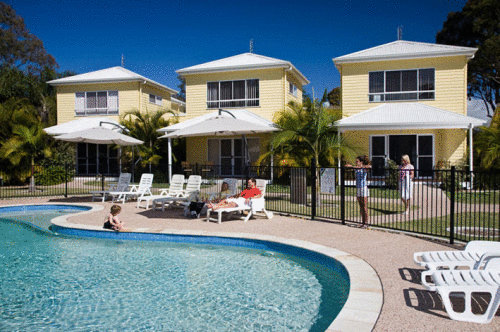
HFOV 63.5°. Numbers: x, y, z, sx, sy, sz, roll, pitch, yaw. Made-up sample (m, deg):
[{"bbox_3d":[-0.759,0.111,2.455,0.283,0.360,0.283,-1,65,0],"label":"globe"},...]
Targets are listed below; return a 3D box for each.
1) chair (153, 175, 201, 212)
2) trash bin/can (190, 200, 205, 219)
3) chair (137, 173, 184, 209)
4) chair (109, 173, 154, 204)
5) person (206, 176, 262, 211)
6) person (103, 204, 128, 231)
[{"bbox_3d":[-3.139,1.046,16.834,2.085,1.515,1.299,5,-1,-41],"label":"chair"},{"bbox_3d":[-2.089,1.692,15.893,0.471,0.225,0.652,-10,3,-1],"label":"trash bin/can"},{"bbox_3d":[-3.871,1.065,17.873,1.334,1.410,2.044,-1,0,37],"label":"chair"},{"bbox_3d":[-5.350,1.054,19.353,1.322,1.338,1.967,-2,-3,31],"label":"chair"},{"bbox_3d":[-0.476,1.041,15.136,2.031,0.877,0.782,-9,16,-24],"label":"person"},{"bbox_3d":[-4.644,1.782,14.028,0.798,0.850,0.673,4,-2,40],"label":"person"}]
